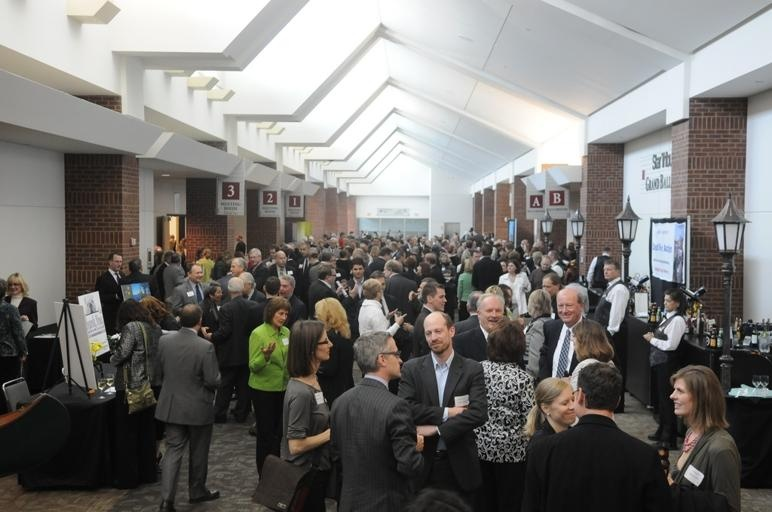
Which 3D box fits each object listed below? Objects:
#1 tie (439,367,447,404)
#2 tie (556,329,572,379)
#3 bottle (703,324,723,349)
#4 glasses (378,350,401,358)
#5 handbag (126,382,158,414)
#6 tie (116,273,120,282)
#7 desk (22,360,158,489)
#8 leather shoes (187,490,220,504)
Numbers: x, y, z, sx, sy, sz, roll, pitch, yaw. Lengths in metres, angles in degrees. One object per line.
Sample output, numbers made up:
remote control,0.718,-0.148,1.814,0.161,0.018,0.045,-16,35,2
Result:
tie,0.526,1.216,5.554,0.091,0.336,0.077,1,1,5
tie,2.022,1.122,6.770,0.156,0.521,0.200,1,1,-1
bottle,4.664,1.141,8.468,0.286,0.339,0.301,0,1,13
glasses,0.051,0.872,5.210,0.150,0.049,0.152,-3,-3,-5
handbag,-3.013,1.766,7.381,0.373,0.356,0.112,-10,4,-30
tie,-5.147,0.438,11.525,0.100,0.139,0.032,0,-13,-6
desk,-3.515,2.318,7.522,1.096,0.594,1.863,0,-4,-9
leather shoes,-2.179,2.926,7.206,0.362,0.161,0.132,-4,3,-32
